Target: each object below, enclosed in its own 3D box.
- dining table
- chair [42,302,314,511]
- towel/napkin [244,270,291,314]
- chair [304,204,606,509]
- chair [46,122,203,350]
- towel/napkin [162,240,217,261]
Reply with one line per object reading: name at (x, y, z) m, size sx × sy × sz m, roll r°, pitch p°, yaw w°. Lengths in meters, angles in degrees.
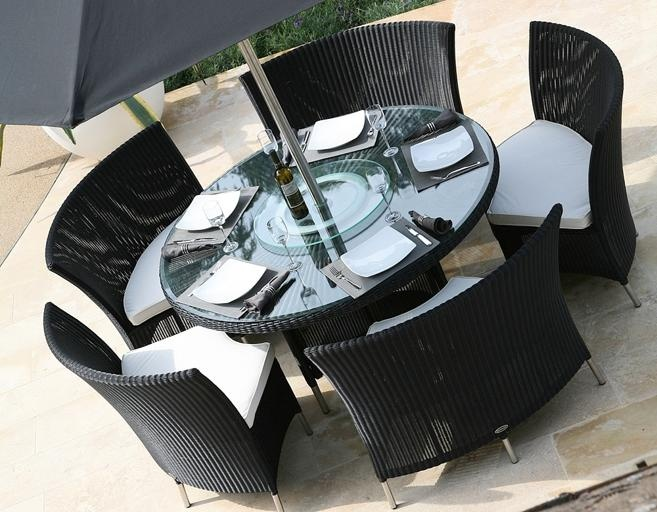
dining table at (0.133, -0.339, 2.817) m, size 1.530 × 0.876 × 1.553 m, roll -22°, pitch 38°, yaw 14°
chair at (-0.670, 0.729, 2.679) m, size 0.638 × 0.880 × 0.616 m, roll 22°, pitch 57°, yaw 31°
towel/napkin at (-0.227, 0.135, 2.397) m, size 0.082 × 0.071 × 0.264 m, roll -11°, pitch 25°, yaw 47°
chair at (0.564, 0.457, 2.641) m, size 1.398 × 0.979 × 0.891 m, roll -27°, pitch 40°, yaw 0°
chair at (-0.998, -0.122, 3.530) m, size 0.936 × 0.658 × 0.908 m, roll 25°, pitch 31°, yaw 16°
towel/napkin at (-0.670, -0.034, 2.745) m, size 0.302 × 0.102 × 0.084 m, roll -3°, pitch 54°, yaw 12°
